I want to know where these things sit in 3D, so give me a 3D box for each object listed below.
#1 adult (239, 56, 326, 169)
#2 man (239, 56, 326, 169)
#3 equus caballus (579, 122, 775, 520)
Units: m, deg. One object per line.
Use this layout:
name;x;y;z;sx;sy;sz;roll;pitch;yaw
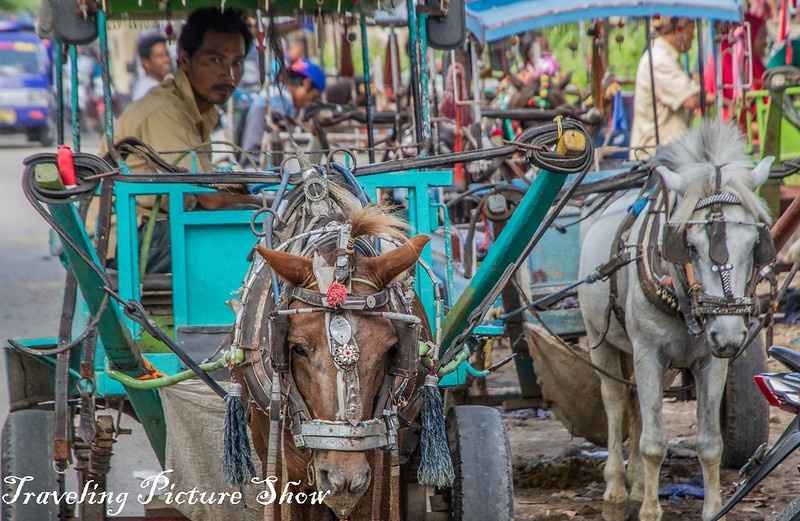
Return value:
adult;-1.434;-1.851;25.459;1.565;0.862;0.405;-24;-30;35
man;-1.591;-1.921;25.099;0.448;0.961;1.796;13;26;24
equus caballus;2.458;0.549;18.378;0.823;3.602;1.943;-4;2;-40
